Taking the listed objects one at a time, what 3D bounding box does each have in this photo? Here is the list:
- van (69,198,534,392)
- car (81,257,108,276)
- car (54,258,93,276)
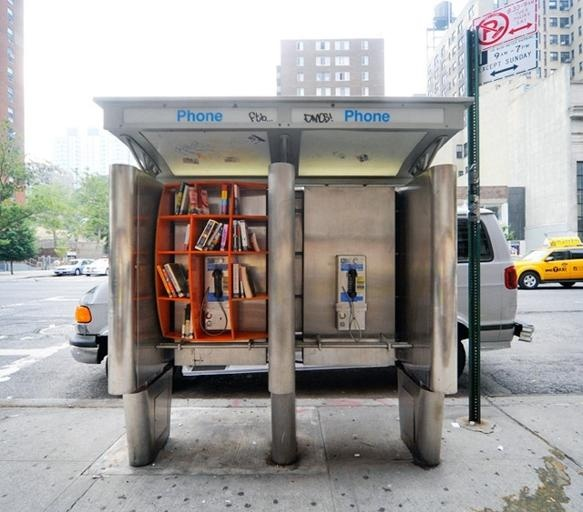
[{"bbox_3d":[1.545,0.486,8.132,5.914,2.169,2.168,-1,-14,-3],"label":"van"},{"bbox_3d":[-10.872,0.589,31.292,0.899,0.687,1.539,-1,-8,3],"label":"car"},{"bbox_3d":[-12.237,0.650,32.121,1.057,0.716,2.350,-2,-4,4],"label":"car"}]
